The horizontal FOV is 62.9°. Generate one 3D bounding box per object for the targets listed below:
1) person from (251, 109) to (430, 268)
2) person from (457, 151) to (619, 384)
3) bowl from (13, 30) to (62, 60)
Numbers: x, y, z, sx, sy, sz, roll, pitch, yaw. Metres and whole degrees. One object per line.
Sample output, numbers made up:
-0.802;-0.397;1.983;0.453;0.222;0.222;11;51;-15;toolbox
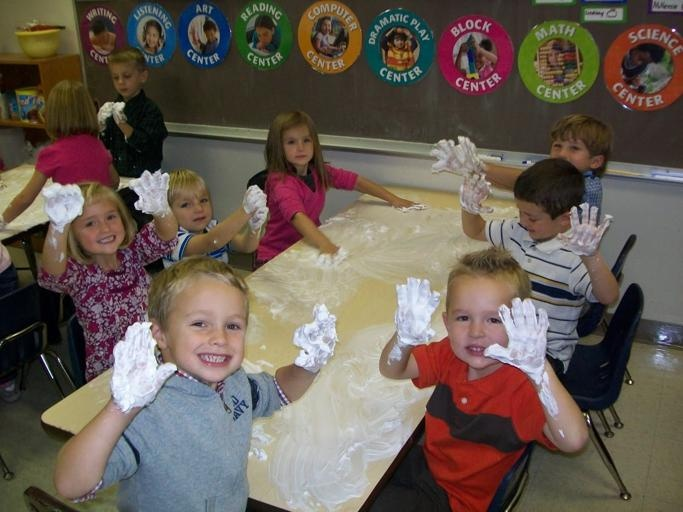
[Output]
0.044;-0.405;3.360;0.526;0.940;0.538;19;45;18;person
0.803;0.051;2.281;0.319;1.090;0.588;-22;46;-17;person
-2.421;-1.711;4.535;0.302;0.220;0.233;-10;21;-28;bowl
